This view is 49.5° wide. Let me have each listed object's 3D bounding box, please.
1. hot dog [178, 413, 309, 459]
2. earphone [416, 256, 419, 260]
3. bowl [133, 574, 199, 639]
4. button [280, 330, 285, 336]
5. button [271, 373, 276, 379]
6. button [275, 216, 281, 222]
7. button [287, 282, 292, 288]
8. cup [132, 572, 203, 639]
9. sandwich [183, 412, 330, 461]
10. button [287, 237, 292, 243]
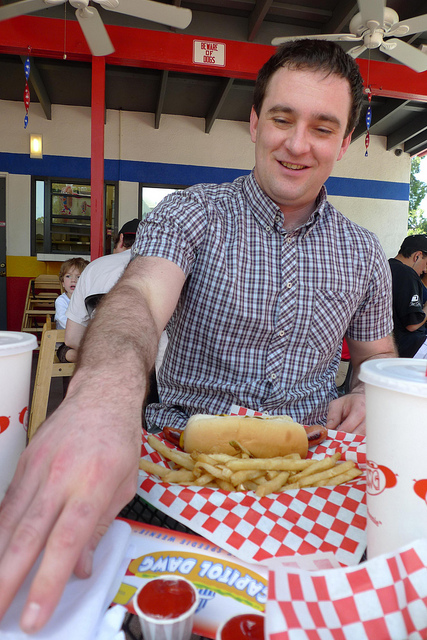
[{"bbox_3d":[0.064,0.213,0.913,0.212,0.069,0.102,2,2,-3],"label":"hot dog"},{"bbox_3d":[1.929,-0.583,4.385,0.022,0.029,0.013,4,4,22],"label":"earphone"},{"bbox_3d":[-0.048,0.280,0.458,0.041,0.036,0.042,-1,-6,0],"label":"bowl"},{"bbox_3d":[0.185,0.037,1.246,0.014,0.015,0.003,-1,5,-35],"label":"button"},{"bbox_3d":[0.164,0.156,1.270,0.015,0.014,0.004,-7,-6,-21],"label":"button"},{"bbox_3d":[0.174,-0.272,1.251,0.015,0.013,0.006,3,4,5],"label":"button"},{"bbox_3d":[0.206,-0.091,1.247,0.015,0.012,0.005,-1,5,-34],"label":"button"},{"bbox_3d":[-0.048,0.277,0.462,0.053,0.045,0.053,-1,-6,0],"label":"cup"},{"bbox_3d":[0.090,0.233,0.917,0.238,0.075,0.114,4,3,-3],"label":"sandwich"},{"bbox_3d":[0.209,-0.219,1.276,0.013,0.013,0.003,-11,-7,23],"label":"button"}]
